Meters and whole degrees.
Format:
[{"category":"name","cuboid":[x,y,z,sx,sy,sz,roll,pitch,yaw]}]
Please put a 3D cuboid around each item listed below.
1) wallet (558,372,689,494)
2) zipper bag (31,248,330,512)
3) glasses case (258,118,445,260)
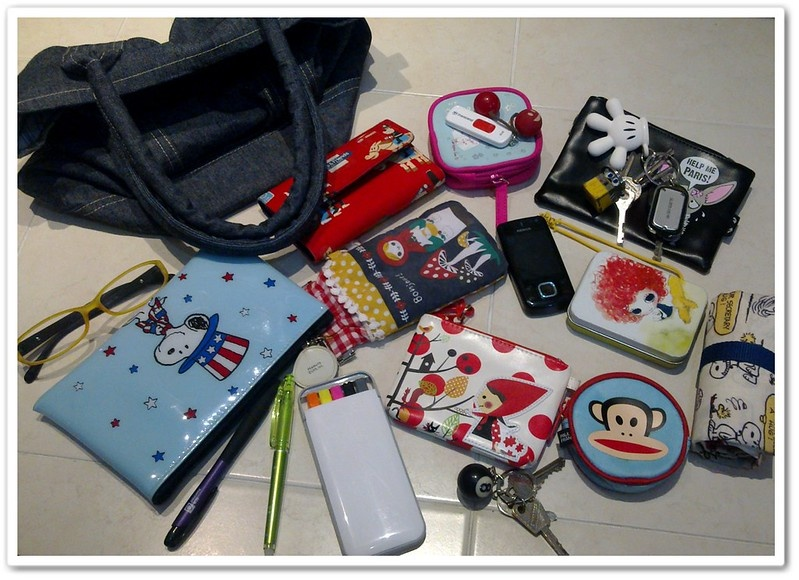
[{"category":"wallet","cuboid":[0.586,0.373,1.778,0.311,0.107,0.349,-6,50,-4]},{"category":"zipper bag","cuboid":[-0.585,0.284,1.904,0.512,0.170,0.704,36,74,9]},{"category":"glasses case","cuboid":[-0.123,-0.283,1.944,0.485,0.117,0.350,-35,72,-6]}]
